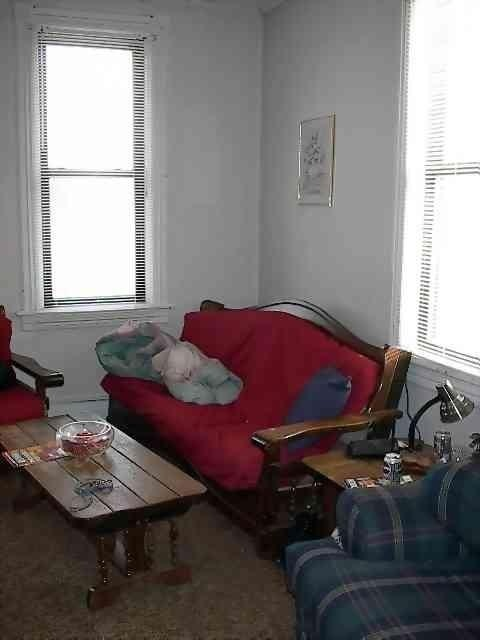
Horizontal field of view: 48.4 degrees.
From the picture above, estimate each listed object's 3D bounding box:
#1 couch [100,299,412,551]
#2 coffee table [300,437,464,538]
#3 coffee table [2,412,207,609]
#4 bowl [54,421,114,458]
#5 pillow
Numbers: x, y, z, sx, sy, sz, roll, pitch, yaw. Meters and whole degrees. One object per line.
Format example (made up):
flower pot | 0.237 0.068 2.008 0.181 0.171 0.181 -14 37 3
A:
couch | -0.057 0.342 2.679 0.707 0.897 1.629 3 6 -34
coffee table | 0.451 0.470 1.845 0.415 0.373 0.411 -9 17 -28
coffee table | -0.535 0.635 1.901 0.510 0.387 0.888 -1 -1 -31
bowl | -0.545 0.423 1.916 0.149 0.077 0.139 2 7 0
pillow | 0.342 0.333 2.279 0.154 0.176 0.333 -1 -1 -28
